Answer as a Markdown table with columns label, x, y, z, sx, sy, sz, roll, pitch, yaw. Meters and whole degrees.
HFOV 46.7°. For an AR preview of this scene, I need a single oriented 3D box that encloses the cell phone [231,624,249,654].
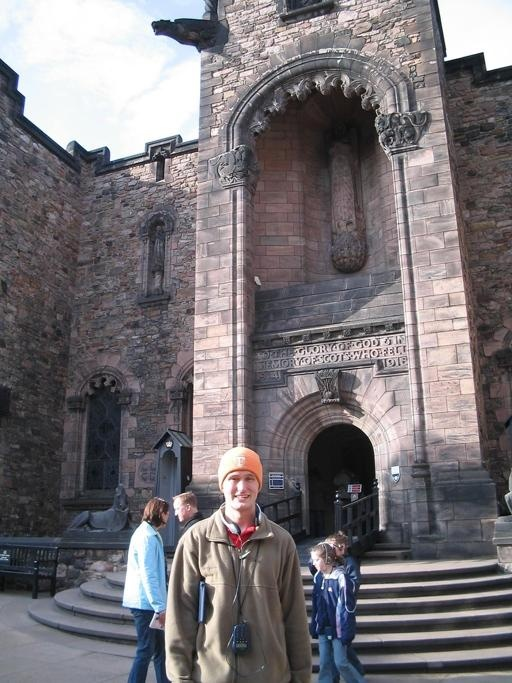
| label | x | y | z | sx | sy | sz | roll | pitch | yaw |
| --- | --- | --- | --- | --- | --- | --- | --- | --- | --- |
| cell phone | -0.057 | 1.056 | 2.100 | 0.086 | 0.114 | 0.065 | 1 | -22 | 1 |

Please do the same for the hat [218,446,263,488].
| label | x | y | z | sx | sy | sz | roll | pitch | yaw |
| --- | --- | --- | --- | --- | --- | --- | --- | --- | --- |
| hat | -0.073 | 0.511 | 2.449 | 0.170 | 0.148 | 0.189 | 5 | -23 | -16 |

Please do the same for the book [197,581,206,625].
| label | x | y | z | sx | sy | sz | roll | pitch | yaw |
| --- | --- | --- | --- | --- | --- | --- | --- | --- | --- |
| book | -0.207 | 0.986 | 2.244 | 0.024 | 0.146 | 0.061 | 4 | -14 | -23 |
